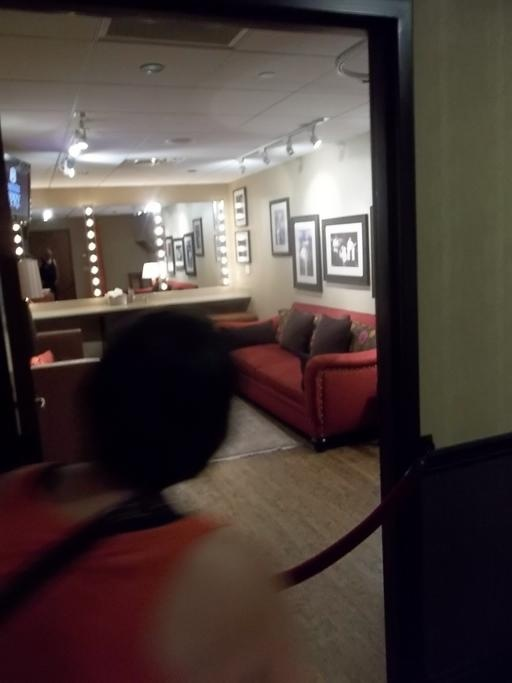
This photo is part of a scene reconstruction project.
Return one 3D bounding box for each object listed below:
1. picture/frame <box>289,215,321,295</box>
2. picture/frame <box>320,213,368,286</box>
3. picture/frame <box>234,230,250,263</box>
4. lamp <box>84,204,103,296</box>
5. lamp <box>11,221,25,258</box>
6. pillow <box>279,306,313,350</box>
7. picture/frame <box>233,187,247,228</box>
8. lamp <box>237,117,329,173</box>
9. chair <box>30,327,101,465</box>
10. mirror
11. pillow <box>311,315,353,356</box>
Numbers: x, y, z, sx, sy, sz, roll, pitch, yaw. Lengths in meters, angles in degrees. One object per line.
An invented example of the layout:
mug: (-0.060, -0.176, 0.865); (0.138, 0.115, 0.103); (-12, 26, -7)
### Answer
picture/frame: (0.550, -0.975, 5.454); (0.046, 0.801, 0.600); (-7, 11, -22)
picture/frame: (0.849, -0.871, 4.733); (0.042, 0.621, 0.618); (-10, 13, -30)
picture/frame: (-0.199, -1.349, 7.060); (0.045, 0.544, 0.451); (-1, 3, -21)
lamp: (-2.245, -1.219, 6.804); (0.178, 1.192, 0.292); (-5, 8, -19)
lamp: (-2.767, -1.160, 5.765); (0.092, 0.378, 0.918); (-6, 9, -24)
pillow: (0.449, -0.088, 5.081); (0.115, 0.413, 0.388); (12, 4, -33)
picture/frame: (-0.225, -1.900, 6.983); (0.056, 0.696, 0.524); (-1, 4, -18)
lamp: (0.264, -1.811, 4.570); (0.214, 0.353, 1.491); (-27, 17, -22)
chair: (-1.005, 0.266, 2.517); (0.360, 0.734, 0.682); (-4, 9, -29)
mirror: (-1.861, -1.321, 6.669); (1.764, 1.231, 0.024); (-8, 17, -23)
pillow: (0.669, -0.037, 4.300); (0.106, 0.259, 0.299); (35, -8, -26)
